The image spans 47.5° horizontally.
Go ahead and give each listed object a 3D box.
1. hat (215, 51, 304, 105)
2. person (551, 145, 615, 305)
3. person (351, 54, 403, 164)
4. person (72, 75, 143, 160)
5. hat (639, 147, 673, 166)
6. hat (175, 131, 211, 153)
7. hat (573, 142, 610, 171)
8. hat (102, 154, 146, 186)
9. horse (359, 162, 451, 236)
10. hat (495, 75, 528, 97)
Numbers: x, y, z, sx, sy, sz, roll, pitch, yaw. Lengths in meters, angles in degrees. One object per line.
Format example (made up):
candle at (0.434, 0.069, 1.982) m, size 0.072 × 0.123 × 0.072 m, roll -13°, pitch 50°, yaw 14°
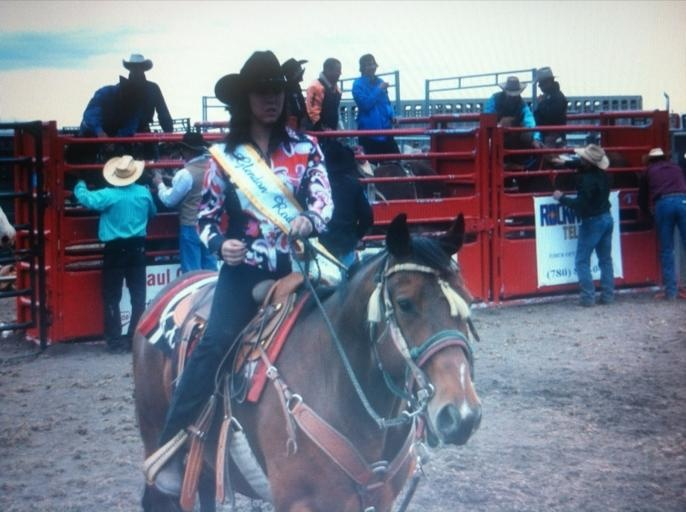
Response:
hat at (-0.578, -1.170, 5.125) m, size 0.524 × 0.348 × 0.213 m, roll -4°, pitch 12°, yaw -12°
person at (3.466, -0.472, 11.085) m, size 0.812 × 2.247 × 0.832 m, roll 4°, pitch 13°, yaw 22°
person at (0.566, -1.958, 11.929) m, size 0.594 × 2.268 × 0.557 m, roll -9°, pitch 24°, yaw 0°
person at (-2.930, -1.752, 9.873) m, size 0.822 × 1.008 × 0.858 m, roll -5°, pitch 13°, yaw -17°
hat at (4.567, -1.505, 11.535) m, size 0.249 × 0.136 × 0.325 m, roll -2°, pitch -21°, yaw 0°
hat at (-1.738, -1.328, 9.116) m, size 0.405 × 0.224 × 0.504 m, roll 2°, pitch 5°, yaw -14°
hat at (3.463, -1.377, 10.845) m, size 0.486 × 0.372 × 0.361 m, roll -3°, pitch 13°, yaw -8°
hat at (-2.589, -1.006, 9.198) m, size 0.477 × 0.367 × 0.334 m, roll -4°, pitch 13°, yaw -12°
horse at (0.862, -0.889, 11.210) m, size 0.803 × 0.425 × 1.387 m, roll -5°, pitch 5°, yaw 28°
hat at (2.562, -2.591, 11.823) m, size 0.358 × 0.297 × 0.740 m, roll 2°, pitch 14°, yaw 13°
